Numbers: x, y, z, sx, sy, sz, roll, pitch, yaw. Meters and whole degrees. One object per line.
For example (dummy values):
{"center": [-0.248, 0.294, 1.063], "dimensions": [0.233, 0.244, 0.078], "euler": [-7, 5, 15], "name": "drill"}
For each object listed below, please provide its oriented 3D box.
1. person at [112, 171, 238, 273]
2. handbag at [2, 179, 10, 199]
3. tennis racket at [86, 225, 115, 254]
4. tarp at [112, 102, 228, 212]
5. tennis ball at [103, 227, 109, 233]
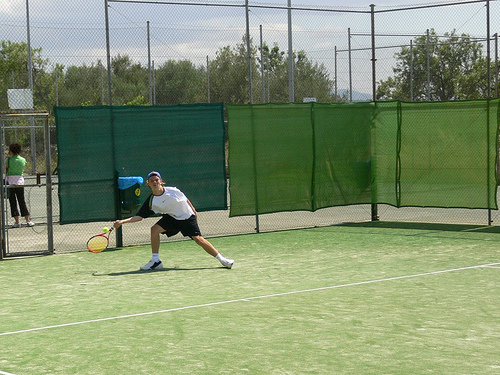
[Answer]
{"center": [-1.301, 0.559, 10.206], "dimensions": [2.249, 1.549, 0.649], "euler": [6, -14, -35], "name": "person"}
{"center": [-4.610, 0.014, 11.491], "dimensions": [0.136, 0.389, 0.924], "euler": [-3, 5, -22], "name": "handbag"}
{"center": [-2.559, 0.886, 10.509], "dimensions": [0.382, 0.664, 0.047], "euler": [20, 31, -34], "name": "tennis racket"}
{"center": [-1.674, -0.637, 12.150], "dimensions": [2.269, 2.192, 0.103], "euler": [-4, 1, -30], "name": "tarp"}
{"center": [-2.326, 0.688, 9.835], "dimensions": [0.110, 0.090, 0.091], "euler": [4, 11, -22], "name": "tennis ball"}
